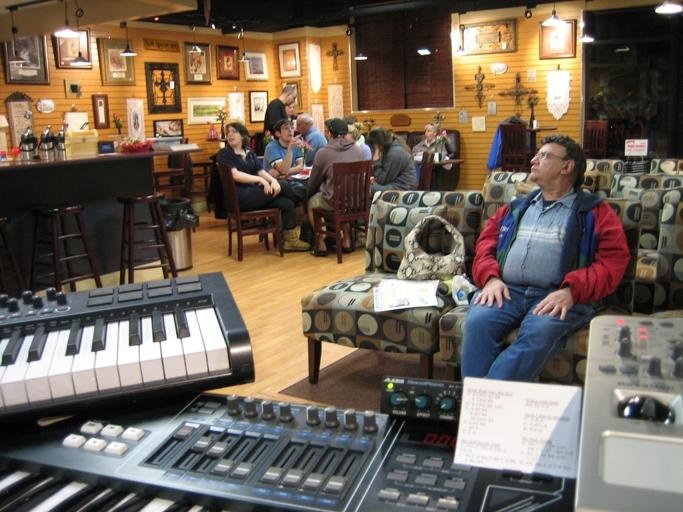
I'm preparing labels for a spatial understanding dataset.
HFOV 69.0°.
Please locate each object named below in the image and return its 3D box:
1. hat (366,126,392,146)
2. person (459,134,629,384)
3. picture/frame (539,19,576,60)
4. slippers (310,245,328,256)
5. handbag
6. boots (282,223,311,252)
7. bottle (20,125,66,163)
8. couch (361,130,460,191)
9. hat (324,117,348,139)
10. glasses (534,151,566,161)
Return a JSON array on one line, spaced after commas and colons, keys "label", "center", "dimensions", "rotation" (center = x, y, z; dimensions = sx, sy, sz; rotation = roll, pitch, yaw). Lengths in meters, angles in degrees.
[{"label": "hat", "center": [0.485, -1.457, 6.180], "dimensions": [0.319, 0.234, 0.261], "rotation": [0, 15, 4]}, {"label": "person", "center": [0.945, -0.040, 2.583], "dimensions": [0.906, 1.088, 0.670], "rotation": [-9, 16, -26]}, {"label": "picture/frame", "center": [3.844, -3.804, 8.772], "dimensions": [0.713, 0.724, 0.072], "rotation": [6, 15, 32]}, {"label": "slippers", "center": [-0.293, -0.056, 6.173], "dimensions": [0.096, 0.085, 0.197], "rotation": [-4, 12, -23]}, {"label": "handbag", "center": [0.573, -0.038, 3.052], "dimensions": [0.400, 0.400, 0.200], "rotation": [1, 0, 15]}, {"label": "boots", "center": [-0.608, -0.237, 6.529], "dimensions": [0.427, 0.416, 0.206], "rotation": [-5, 21, -12]}, {"label": "bottle", "center": [-2.968, -1.113, 4.941], "dimensions": [0.424, 0.312, 0.804], "rotation": [-10, 17, -30]}, {"label": "couch", "center": [1.069, -1.389, 7.349], "dimensions": [1.489, 1.045, 0.925], "rotation": [14, 27, 30]}, {"label": "hat", "center": [-0.067, -1.542, 6.094], "dimensions": [0.231, 0.169, 0.322], "rotation": [-3, 35, -9]}, {"label": "glasses", "center": [1.128, -0.525, 2.669], "dimensions": [0.091, 0.028, 0.088], "rotation": [4, 6, -8]}]
